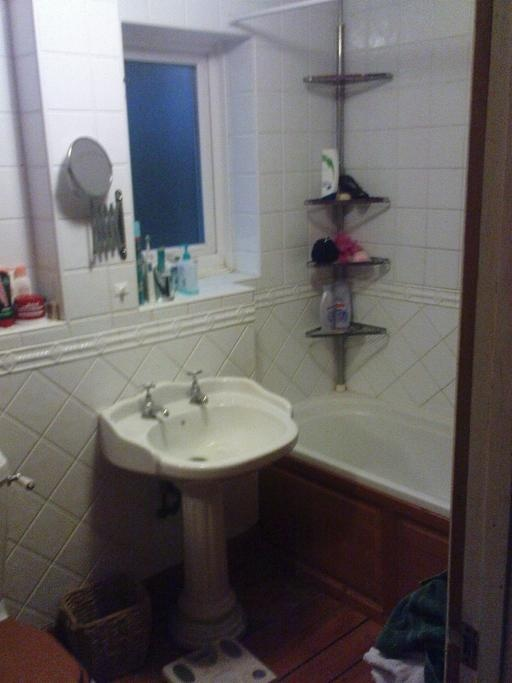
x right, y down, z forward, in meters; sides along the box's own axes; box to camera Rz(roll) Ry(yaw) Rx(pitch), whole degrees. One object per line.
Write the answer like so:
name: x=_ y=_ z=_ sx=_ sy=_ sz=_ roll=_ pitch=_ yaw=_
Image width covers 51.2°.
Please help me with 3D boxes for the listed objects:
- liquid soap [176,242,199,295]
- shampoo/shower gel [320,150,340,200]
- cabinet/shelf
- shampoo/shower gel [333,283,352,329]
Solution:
liquid soap: x=-0.278 y=-0.295 z=2.190 sx=0.084 sy=0.189 sz=0.150 roll=0 pitch=13 yaw=3
shampoo/shower gel: x=0.345 y=-0.779 z=2.485 sx=0.085 sy=0.211 sz=0.051 roll=-2 pitch=12 yaw=-7
cabinet/shelf: x=0.431 y=-0.610 z=2.541 sx=0.413 sy=1.827 sz=0.252 roll=1 pitch=12 yaw=7
shampoo/shower gel: x=0.438 y=-0.195 z=2.679 sx=0.107 sy=0.330 sz=0.088 roll=6 pitch=44 yaw=15
